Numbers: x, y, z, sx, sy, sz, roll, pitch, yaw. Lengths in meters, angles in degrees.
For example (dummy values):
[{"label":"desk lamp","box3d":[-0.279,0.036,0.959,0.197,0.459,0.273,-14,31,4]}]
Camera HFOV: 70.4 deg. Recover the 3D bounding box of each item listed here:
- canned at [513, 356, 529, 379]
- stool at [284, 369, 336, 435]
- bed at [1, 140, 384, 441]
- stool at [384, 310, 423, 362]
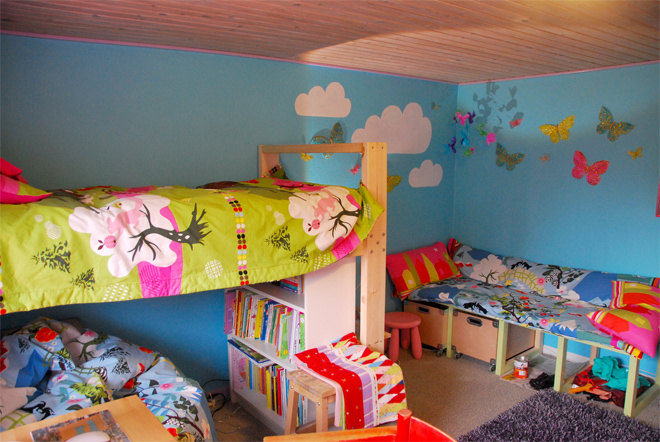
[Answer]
[{"label":"canned","box3d":[1.708,1.331,4.286,0.180,0.174,0.171,-1,6,15]},{"label":"stool","box3d":[-0.152,1.262,3.125,0.369,0.434,0.193,9,17,43]},{"label":"bed","box3d":[-0.499,0.421,3.130,2.065,1.818,0.953,-7,13,-26]},{"label":"stool","box3d":[0.731,1.093,4.672,0.451,0.425,0.434,-4,10,-20]}]
